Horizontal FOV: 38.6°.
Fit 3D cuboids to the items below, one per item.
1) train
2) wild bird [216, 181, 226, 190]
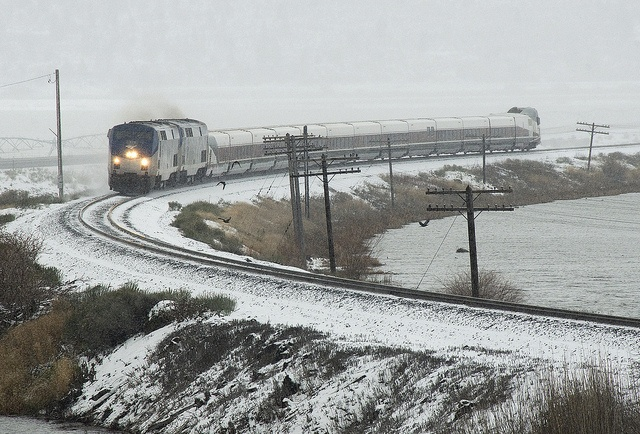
[{"bbox_3d":[3.197,-6.608,83.662,46.676,5.861,2.788,-7,-6,-28],"label":"train"},{"bbox_3d":[-7.578,-2.446,70.057,0.334,0.672,0.875,17,6,0],"label":"wild bird"}]
